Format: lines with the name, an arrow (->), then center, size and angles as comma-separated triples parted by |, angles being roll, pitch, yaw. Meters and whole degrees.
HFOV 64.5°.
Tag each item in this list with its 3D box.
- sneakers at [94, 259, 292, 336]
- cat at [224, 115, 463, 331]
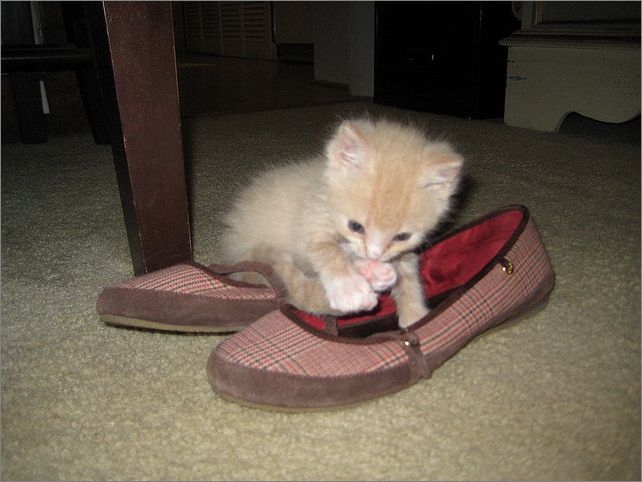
sneakers -> -0.244, 0.114, 1.073 | 0.407, 0.128, 0.157 | -3, 20, -19
cat -> 0.006, -0.079, 1.200 | 0.396, 0.323, 0.539 | -5, 25, -24
